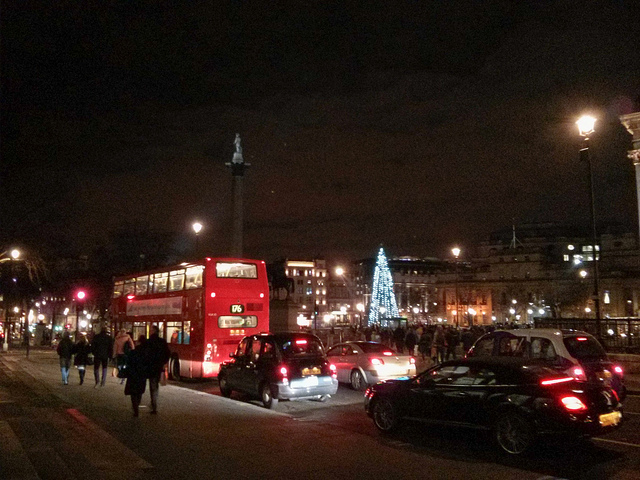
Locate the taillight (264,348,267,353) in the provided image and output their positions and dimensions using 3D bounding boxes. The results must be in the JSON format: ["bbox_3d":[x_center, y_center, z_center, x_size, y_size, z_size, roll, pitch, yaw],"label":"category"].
[{"bbox_3d":[-1.616,3.300,15.249,0.036,0.110,0.124,6,-13,-33],"label":"taillight"}]

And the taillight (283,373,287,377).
[{"bbox_3d":[-0.999,3.826,14.399,0.097,0.033,0.098,-2,-5,44],"label":"taillight"}]

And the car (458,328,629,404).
[{"bbox_3d":[5.729,3.881,14.667,2.730,2.188,4.859,3,-6,-36],"label":"car"}]

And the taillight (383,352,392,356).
[{"bbox_3d":[2.460,4.121,18.370,0.324,0.110,0.308,3,-12,-20],"label":"taillight"}]

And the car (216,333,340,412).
[{"bbox_3d":[-1.529,3.971,15.526,3.347,2.200,1.641,-10,-14,37],"label":"car"}]

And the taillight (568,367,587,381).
[{"bbox_3d":[6.370,3.327,12.604,0.462,0.324,0.163,3,-12,-17],"label":"taillight"}]

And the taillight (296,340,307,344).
[{"bbox_3d":[-0.559,3.066,15.293,0.353,0.113,0.049,8,-14,-36],"label":"taillight"}]

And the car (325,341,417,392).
[{"bbox_3d":[1.585,4.651,18.875,1.566,1.146,3.389,5,-9,-29],"label":"car"}]

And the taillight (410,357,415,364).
[{"bbox_3d":[3.323,4.368,18.426,0.171,0.311,0.177,-2,-2,14],"label":"taillight"}]

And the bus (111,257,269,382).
[{"bbox_3d":[-6.558,3.702,23.961,3.207,4.693,9.901,6,-11,-40],"label":"bus"}]

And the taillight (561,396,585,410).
[{"bbox_3d":[4.798,3.117,9.716,0.406,0.227,0.078,2,-11,-13],"label":"taillight"}]

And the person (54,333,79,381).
[{"bbox_3d":[-9.873,4.571,19.905,0.661,1.788,1.348,4,-12,-26],"label":"person"}]

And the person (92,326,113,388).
[{"bbox_3d":[-8.326,4.462,19.497,0.710,2.255,0.926,4,-12,-25],"label":"person"}]
